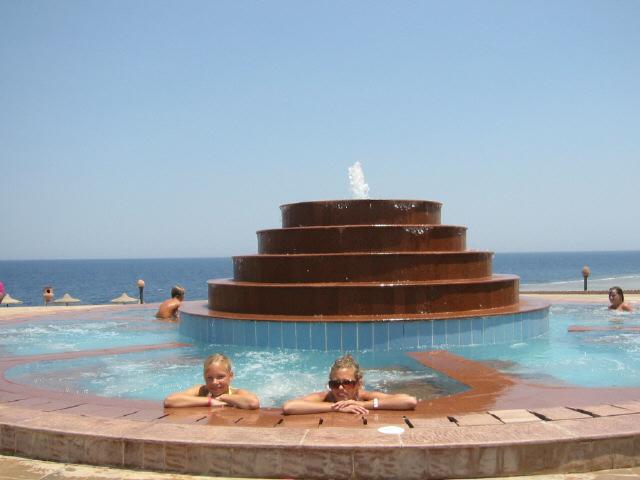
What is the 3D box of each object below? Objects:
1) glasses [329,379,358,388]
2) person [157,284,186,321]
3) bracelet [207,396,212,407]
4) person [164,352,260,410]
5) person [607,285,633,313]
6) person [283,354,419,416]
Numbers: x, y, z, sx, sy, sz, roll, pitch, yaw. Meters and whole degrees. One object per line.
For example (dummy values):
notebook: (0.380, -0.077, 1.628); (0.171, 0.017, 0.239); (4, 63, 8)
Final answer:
glasses: (0.253, 1.552, 6.240); (0.301, 0.095, 0.131); (-2, -1, 0)
person: (-3.977, 1.786, 15.805); (0.723, 0.920, 0.715); (15, 9, 38)
bracelet: (-1.225, 1.790, 6.438); (0.050, 0.085, 0.227); (-3, -1, -11)
person: (-1.150, 1.663, 6.407); (1.046, 0.468, 0.665); (1, -13, 1)
person: (8.078, 1.590, 15.606); (0.553, 0.708, 1.020); (-3, -1, 24)
person: (0.295, 1.394, 6.237); (1.336, 0.436, 0.667); (-1, -7, -3)
